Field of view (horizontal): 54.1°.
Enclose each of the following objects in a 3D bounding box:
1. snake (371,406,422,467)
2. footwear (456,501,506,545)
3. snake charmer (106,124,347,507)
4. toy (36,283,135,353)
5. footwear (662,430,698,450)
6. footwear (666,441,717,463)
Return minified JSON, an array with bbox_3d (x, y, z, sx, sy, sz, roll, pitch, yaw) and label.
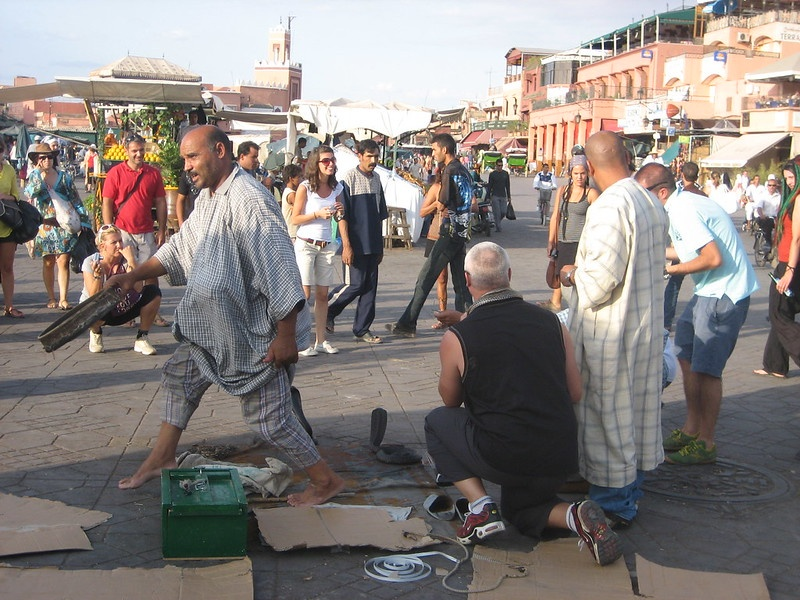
[{"bbox_3d":[-0.062,0.973,5.662,0.316,0.360,0.463,-8,15,-19],"label":"snake"},{"bbox_3d":[0.451,1.315,4.587,0.373,0.178,0.140,-31,-9,40],"label":"footwear"},{"bbox_3d":[-1.108,0.031,5.163,1.461,2.365,1.192,0,3,-11],"label":"snake charmer"},{"bbox_3d":[-1.983,0.131,4.910,0.496,0.113,0.375,-31,4,-6],"label":"toy"},{"bbox_3d":[2.064,1.059,5.862,0.283,0.107,0.100,-6,3,-18],"label":"footwear"},{"bbox_3d":[2.119,1.116,5.738,0.392,0.164,0.141,-1,6,-2],"label":"footwear"}]
